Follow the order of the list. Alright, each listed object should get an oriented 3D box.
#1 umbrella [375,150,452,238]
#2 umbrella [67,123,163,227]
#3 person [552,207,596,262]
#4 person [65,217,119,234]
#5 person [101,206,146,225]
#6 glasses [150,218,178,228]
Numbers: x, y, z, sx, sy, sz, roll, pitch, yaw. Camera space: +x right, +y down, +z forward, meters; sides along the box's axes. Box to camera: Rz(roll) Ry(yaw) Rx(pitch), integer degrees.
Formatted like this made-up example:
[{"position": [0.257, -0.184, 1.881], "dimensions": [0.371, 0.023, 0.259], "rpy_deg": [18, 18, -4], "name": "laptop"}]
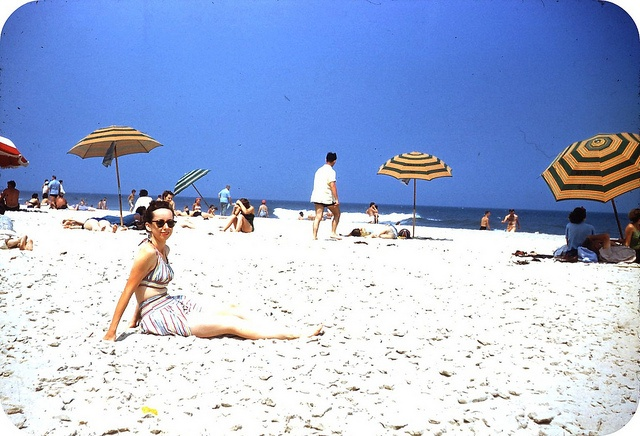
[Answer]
[{"position": [2.409, -0.580, 15.024], "dimensions": [1.867, 2.311, 2.052], "rpy_deg": [8, 18, 27], "name": "umbrella"}, {"position": [-4.608, -0.949, 13.236], "dimensions": [1.750, 2.407, 1.992], "rpy_deg": [-9, -3, 34], "name": "umbrella"}, {"position": [6.969, 0.465, 16.068], "dimensions": [1.181, 1.484, 0.903], "rpy_deg": [15, 4, 31], "name": "person"}, {"position": [-5.019, 0.155, 12.625], "dimensions": [0.835, 0.256, 0.520], "rpy_deg": [11, 14, 12], "name": "person"}, {"position": [-5.416, -0.077, 15.765], "dimensions": [0.976, 0.422, 0.742], "rpy_deg": [-2, 38, -15], "name": "person"}, {"position": [-2.016, 0.071, 7.411], "dimensions": [0.294, 0.098, 0.120], "rpy_deg": [3, -1, -19], "name": "glasses"}]
